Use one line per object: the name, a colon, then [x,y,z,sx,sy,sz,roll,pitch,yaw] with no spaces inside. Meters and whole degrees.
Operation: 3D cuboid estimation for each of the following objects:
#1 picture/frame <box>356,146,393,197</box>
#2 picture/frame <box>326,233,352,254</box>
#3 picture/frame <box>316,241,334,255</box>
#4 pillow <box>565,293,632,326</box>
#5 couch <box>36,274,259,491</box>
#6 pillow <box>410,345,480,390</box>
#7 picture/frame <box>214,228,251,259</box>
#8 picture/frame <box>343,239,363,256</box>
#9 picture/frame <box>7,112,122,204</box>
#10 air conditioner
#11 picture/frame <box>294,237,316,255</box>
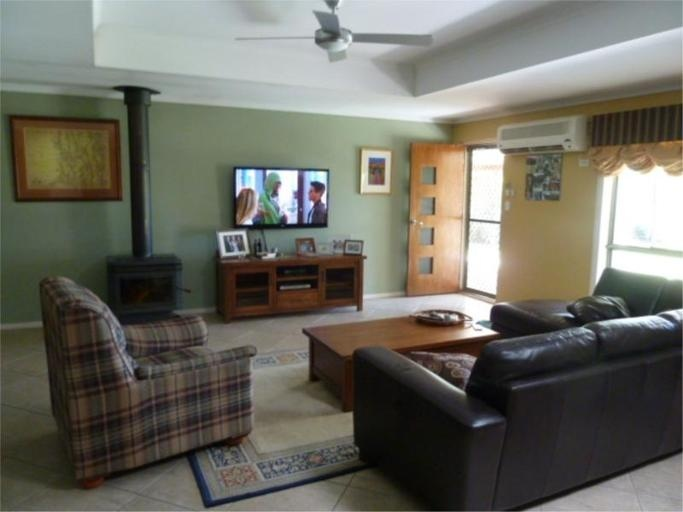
picture/frame: [0.418,-1.166,7.033,0.714,0.862,0.071,-2,10,-22]
picture/frame: [-0.046,-0.155,6.759,0.270,0.255,0.027,5,-15,2]
picture/frame: [-0.235,-0.104,6.743,0.202,0.176,0.050,1,-7,-31]
pillow: [2.276,0.460,4.549,0.332,0.100,0.334,-7,9,-14]
couch: [-1.340,0.743,3.838,1.397,1.307,1.339,-5,10,-36]
pillow: [0.793,0.773,3.700,0.339,0.094,0.287,3,3,-42]
picture/frame: [-1.336,-0.149,6.258,0.379,0.338,0.027,-5,2,-37]
picture/frame: [0.139,-0.107,6.666,0.243,0.200,0.017,1,3,7]
picture/frame: [-3.029,-1.072,5.584,1.075,0.915,0.080,-2,10,-22]
air conditioner: [2.269,-1.399,5.909,0.224,0.356,1.019,-9,16,-34]
picture/frame: [-0.483,-0.129,6.657,0.241,0.197,0.028,-2,4,-30]
